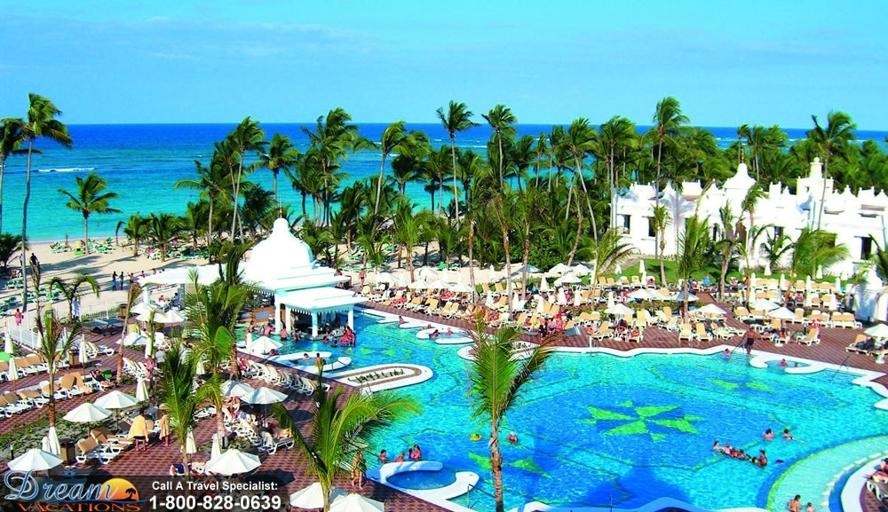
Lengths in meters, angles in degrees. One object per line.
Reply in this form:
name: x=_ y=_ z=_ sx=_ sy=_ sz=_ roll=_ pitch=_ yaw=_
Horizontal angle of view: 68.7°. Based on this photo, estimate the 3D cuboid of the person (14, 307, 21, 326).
person: x=-24.552 y=3.613 z=37.708 sx=0.286 sy=0.704 sz=0.694 roll=-5 pitch=6 yaw=-32

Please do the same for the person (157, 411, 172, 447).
person: x=-11.136 y=6.881 z=26.105 sx=0.431 sy=1.358 sz=0.666 roll=-4 pitch=5 yaw=-25

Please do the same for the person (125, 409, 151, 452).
person: x=-12.254 y=7.120 z=26.197 sx=1.087 sy=1.702 sz=0.835 roll=3 pitch=26 yaw=-20

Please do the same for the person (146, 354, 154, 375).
person: x=-13.675 y=5.136 z=30.447 sx=0.371 sy=1.303 sz=0.819 roll=-1 pitch=3 yaw=-31

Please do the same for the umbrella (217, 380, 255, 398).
umbrella: x=-8.630 y=5.574 z=27.012 sx=1.714 sy=0.655 sz=2.087 roll=2 pitch=1 yaw=-19

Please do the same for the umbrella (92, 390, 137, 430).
umbrella: x=-13.398 y=6.131 z=26.852 sx=1.669 sy=1.311 sz=1.644 roll=6 pitch=4 yaw=31

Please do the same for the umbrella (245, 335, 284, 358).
umbrella: x=-9.103 y=4.756 z=33.403 sx=1.534 sy=0.737 sz=1.447 roll=-3 pitch=16 yaw=0

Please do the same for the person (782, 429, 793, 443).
person: x=14.624 y=7.659 z=27.770 sx=0.438 sy=0.316 sz=0.713 roll=0 pitch=5 yaw=24

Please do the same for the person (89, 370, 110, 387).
person: x=-16.371 y=5.892 z=31.094 sx=0.332 sy=0.525 sz=1.025 roll=-18 pitch=17 yaw=-41

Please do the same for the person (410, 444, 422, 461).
person: x=-1.130 y=7.869 z=26.089 sx=0.473 sy=0.623 sz=1.114 roll=-2 pitch=4 yaw=-2

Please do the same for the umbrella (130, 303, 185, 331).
umbrella: x=-15.739 y=3.417 z=35.785 sx=1.935 sy=0.604 sz=1.745 roll=17 pitch=16 yaw=12

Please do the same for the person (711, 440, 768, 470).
person: x=11.903 y=8.091 z=26.379 sx=1.327 sy=0.382 sz=0.968 roll=11 pitch=4 yaw=43
